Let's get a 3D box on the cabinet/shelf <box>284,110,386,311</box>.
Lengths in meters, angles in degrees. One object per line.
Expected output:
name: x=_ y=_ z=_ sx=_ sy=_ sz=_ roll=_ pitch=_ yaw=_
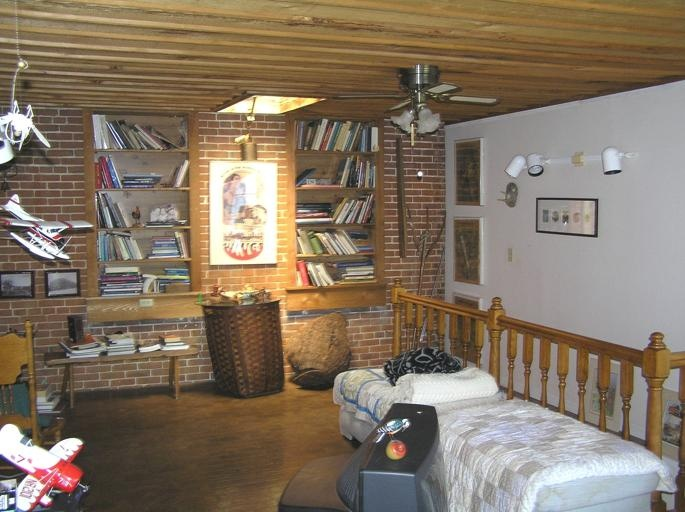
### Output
cabinet/shelf: x=-0.078 y=-0.539 z=6.767 sx=1.253 sy=2.394 sz=0.658 roll=-1 pitch=10 yaw=-5

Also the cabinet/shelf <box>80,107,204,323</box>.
cabinet/shelf: x=-2.282 y=-0.431 z=6.193 sx=1.321 sy=2.419 sz=0.716 roll=-2 pitch=10 yaw=-12

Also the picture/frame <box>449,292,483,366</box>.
picture/frame: x=1.625 y=0.873 z=6.846 sx=0.061 sy=0.634 sz=0.420 roll=21 pitch=-20 yaw=-18

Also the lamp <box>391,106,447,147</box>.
lamp: x=0.465 y=-0.875 z=3.581 sx=0.355 sy=0.200 sz=0.316 roll=2 pitch=8 yaw=34

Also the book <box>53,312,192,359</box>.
book: x=-2.432 y=0.863 z=5.862 sx=1.159 sy=0.436 sz=0.356 roll=-3 pitch=9 yaw=-23

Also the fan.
fan: x=0.561 y=-1.144 z=3.606 sx=1.029 sy=0.243 sz=0.911 roll=3 pitch=10 yaw=6

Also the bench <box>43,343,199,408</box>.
bench: x=-2.419 y=1.290 z=5.917 sx=1.564 sy=0.409 sz=0.412 roll=0 pitch=0 yaw=-23

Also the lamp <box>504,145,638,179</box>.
lamp: x=2.188 y=-0.917 z=5.292 sx=0.470 sy=0.250 sz=1.188 roll=-4 pitch=7 yaw=-25

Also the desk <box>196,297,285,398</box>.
desk: x=-1.083 y=1.085 z=6.560 sx=1.330 sy=1.065 sz=1.158 roll=-1 pitch=-2 yaw=-27
